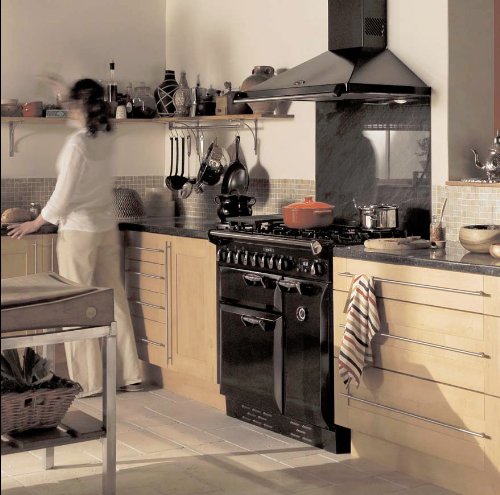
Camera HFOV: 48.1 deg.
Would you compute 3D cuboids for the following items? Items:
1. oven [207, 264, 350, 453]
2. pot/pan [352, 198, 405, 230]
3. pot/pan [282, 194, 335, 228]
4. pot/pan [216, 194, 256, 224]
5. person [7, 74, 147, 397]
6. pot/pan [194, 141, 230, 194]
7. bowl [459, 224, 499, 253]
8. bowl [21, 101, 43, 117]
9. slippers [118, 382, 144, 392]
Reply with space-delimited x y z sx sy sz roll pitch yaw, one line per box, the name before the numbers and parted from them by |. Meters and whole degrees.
oven | 0.245 0.495 2.907 0.494 0.859 0.865 0 0 -38
pot/pan | 0.642 -0.176 2.763 0.164 0.101 0.160 -9 13 -40
pot/pan | 0.301 -0.189 2.922 0.259 0.163 0.319 -1 7 10
pot/pan | -0.110 -0.215 3.532 0.296 0.202 0.177 2 -2 -27
person | -1.029 -0.090 3.509 0.676 1.985 0.692 0 -1 -2
pot/pan | -0.277 -0.566 3.900 0.128 0.335 0.286 22 26 -9
bowl | 0.910 -0.043 2.268 0.131 0.075 0.142 0 7 0
bowl | -1.446 -0.910 3.741 0.108 0.098 0.118 2 -2 0
slippers | -0.762 0.890 3.581 0.165 0.062 0.060 2 -1 -10
